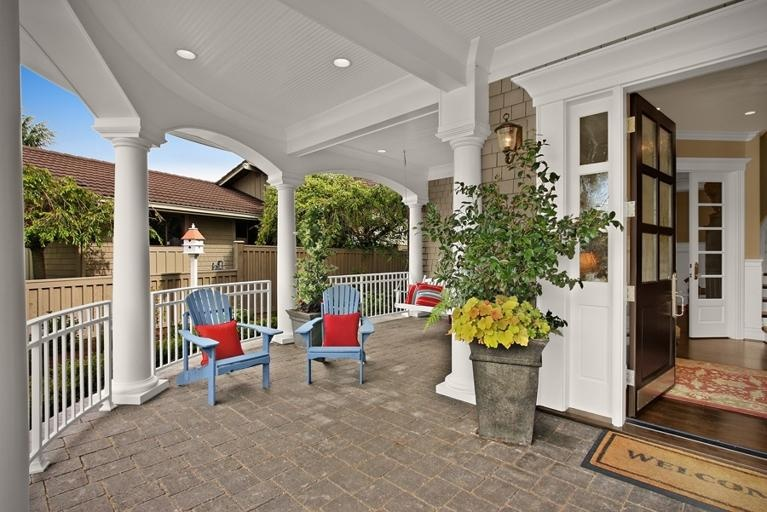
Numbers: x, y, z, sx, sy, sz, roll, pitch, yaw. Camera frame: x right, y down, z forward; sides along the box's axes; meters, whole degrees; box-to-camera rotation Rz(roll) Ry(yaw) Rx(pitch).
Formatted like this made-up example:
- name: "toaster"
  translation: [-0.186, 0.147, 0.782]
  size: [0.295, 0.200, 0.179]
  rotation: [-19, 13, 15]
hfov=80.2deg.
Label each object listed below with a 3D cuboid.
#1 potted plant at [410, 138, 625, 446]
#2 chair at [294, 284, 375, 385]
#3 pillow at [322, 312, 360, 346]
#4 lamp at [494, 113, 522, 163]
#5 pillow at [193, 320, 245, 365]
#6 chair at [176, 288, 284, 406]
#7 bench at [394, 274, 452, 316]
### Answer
- name: "potted plant"
  translation: [1.304, 0.491, 4.911]
  size: [1.875, 2.950, 1.462]
  rotation: [0, -9, 12]
- name: "chair"
  translation: [-0.639, 1.030, 6.236]
  size: [0.891, 1.044, 1.177]
  rotation: [0, 4, -3]
- name: "pillow"
  translation: [-0.609, 0.980, 6.330]
  size: [0.564, 0.563, 0.227]
  rotation: [7, -31, -5]
- name: "lamp"
  translation: [1.460, -1.385, 5.314]
  size: [0.298, 0.594, 0.299]
  rotation: [0, 6, 38]
- name: "pillow"
  translation: [-2.034, 1.071, 5.682]
  size: [0.549, 0.496, 0.186]
  rotation: [-4, -17, -43]
- name: "chair"
  translation: [-1.969, 1.051, 5.670]
  size: [1.018, 1.111, 1.181]
  rotation: [-4, 7, -41]
- name: "bench"
  translation: [0.747, 0.774, 9.036]
  size: [0.824, 0.289, 0.937]
  rotation: [-14, 7, -22]
